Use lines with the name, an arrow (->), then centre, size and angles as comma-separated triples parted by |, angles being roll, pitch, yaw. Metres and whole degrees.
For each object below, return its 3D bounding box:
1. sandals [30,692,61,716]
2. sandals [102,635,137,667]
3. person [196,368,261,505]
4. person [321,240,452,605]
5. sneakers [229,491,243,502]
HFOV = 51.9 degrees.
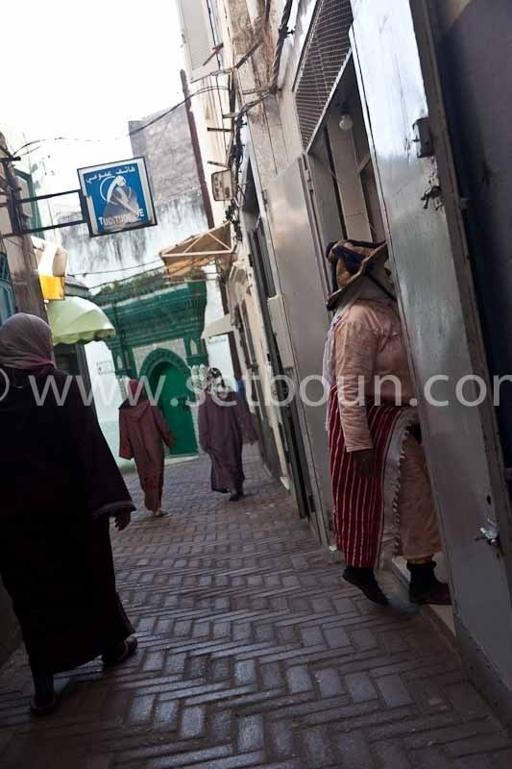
sandals -> -0.954, 1.446, 2.375 | 0.123, 0.061, 0.126 | -7, -8, -26
sandals -> -0.737, 1.467, 2.894 | 0.075, 0.075, 0.205 | 39, 23, 20
person -> -0.557, 0.779, 8.700 | 0.781, 2.255, 0.713 | -8, -7, -5
person -> 0.562, 0.174, 2.681 | 0.574, 1.977, 0.402 | -14, -8, 37
sneakers -> -0.317, 1.776, 8.322 | 0.238, 0.137, 0.264 | -9, -7, -6
